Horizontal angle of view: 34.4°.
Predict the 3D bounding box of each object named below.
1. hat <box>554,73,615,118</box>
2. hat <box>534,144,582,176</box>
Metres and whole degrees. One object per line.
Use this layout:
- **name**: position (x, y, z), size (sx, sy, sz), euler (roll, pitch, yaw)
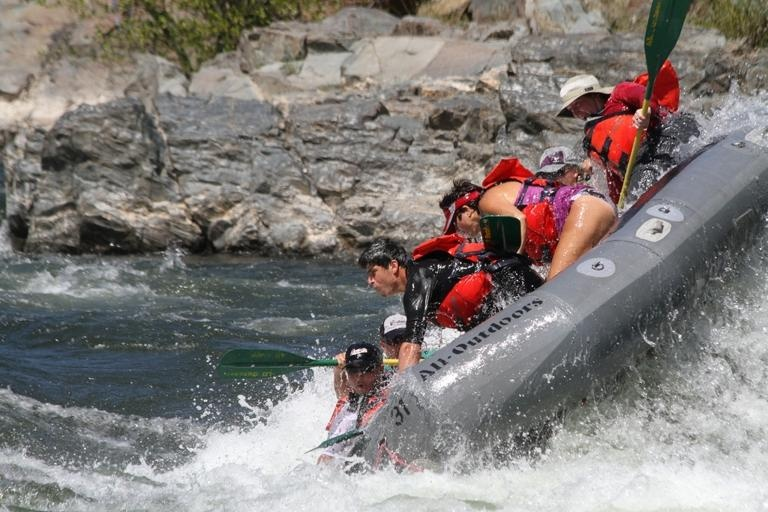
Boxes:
- **hat**: position (2.443, -2.037, 15.065), size (0.625, 0.305, 0.605), euler (-22, -7, -26)
- **hat**: position (2.004, -1.118, 14.494), size (0.475, 0.254, 0.308), euler (-10, 10, 34)
